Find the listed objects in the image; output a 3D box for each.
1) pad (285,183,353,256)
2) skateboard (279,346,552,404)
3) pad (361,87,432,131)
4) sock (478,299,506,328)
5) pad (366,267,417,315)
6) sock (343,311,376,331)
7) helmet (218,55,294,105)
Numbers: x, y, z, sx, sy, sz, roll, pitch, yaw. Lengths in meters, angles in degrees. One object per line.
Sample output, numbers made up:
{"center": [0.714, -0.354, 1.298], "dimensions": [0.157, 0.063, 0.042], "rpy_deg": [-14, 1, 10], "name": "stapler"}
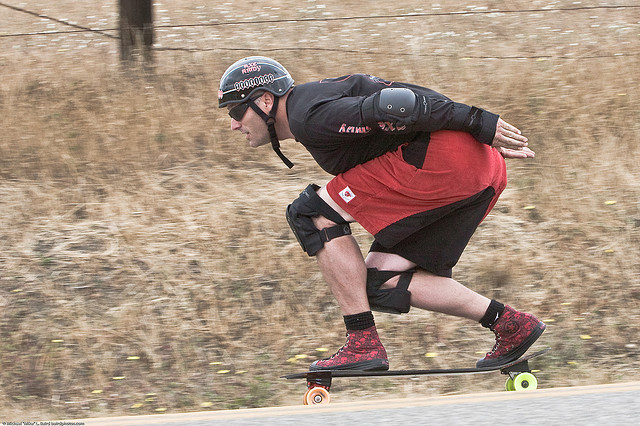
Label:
{"center": [-0.038, 0.051, 6.463], "dimensions": [0.329, 0.539, 0.422], "rpy_deg": [-13, 33, -34], "name": "pad"}
{"center": [0.811, 1.371, 6.688], "dimensions": [2.185, 0.213, 0.385], "rpy_deg": [-4, -7, 0], "name": "skateboard"}
{"center": [0.581, -0.783, 6.129], "dimensions": [0.543, 0.328, 0.211], "rpy_deg": [5, 27, -1], "name": "pad"}
{"center": [1.393, 0.817, 6.572], "dimensions": [0.268, 0.106, 0.187], "rpy_deg": [-32, 7, 14], "name": "sock"}
{"center": [0.543, 0.616, 6.454], "dimensions": [0.727, 0.361, 0.245], "rpy_deg": [3, -6, -10], "name": "pad"}
{"center": [0.305, 0.862, 6.402], "dimensions": [0.290, 0.090, 0.163], "rpy_deg": [-2, -6, -8], "name": "sock"}
{"center": [-0.517, -1.054, 6.463], "dimensions": [0.573, 0.376, 0.332], "rpy_deg": [4, 25, -4], "name": "helmet"}
